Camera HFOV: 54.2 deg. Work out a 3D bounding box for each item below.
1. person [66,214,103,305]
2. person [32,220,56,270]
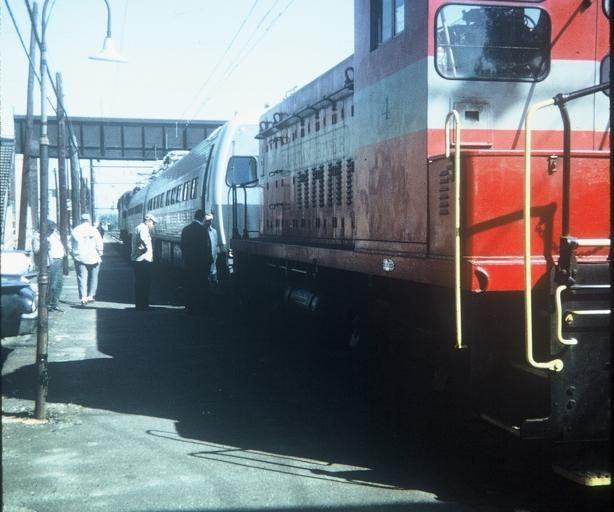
[{"bbox_3d":[-5.191,0.031,14.298,0.684,2.104,1.482,-1,3,-21],"label":"person"},{"bbox_3d":[-4.151,-0.163,9.553,0.245,1.004,0.188,4,1,37],"label":"person"}]
